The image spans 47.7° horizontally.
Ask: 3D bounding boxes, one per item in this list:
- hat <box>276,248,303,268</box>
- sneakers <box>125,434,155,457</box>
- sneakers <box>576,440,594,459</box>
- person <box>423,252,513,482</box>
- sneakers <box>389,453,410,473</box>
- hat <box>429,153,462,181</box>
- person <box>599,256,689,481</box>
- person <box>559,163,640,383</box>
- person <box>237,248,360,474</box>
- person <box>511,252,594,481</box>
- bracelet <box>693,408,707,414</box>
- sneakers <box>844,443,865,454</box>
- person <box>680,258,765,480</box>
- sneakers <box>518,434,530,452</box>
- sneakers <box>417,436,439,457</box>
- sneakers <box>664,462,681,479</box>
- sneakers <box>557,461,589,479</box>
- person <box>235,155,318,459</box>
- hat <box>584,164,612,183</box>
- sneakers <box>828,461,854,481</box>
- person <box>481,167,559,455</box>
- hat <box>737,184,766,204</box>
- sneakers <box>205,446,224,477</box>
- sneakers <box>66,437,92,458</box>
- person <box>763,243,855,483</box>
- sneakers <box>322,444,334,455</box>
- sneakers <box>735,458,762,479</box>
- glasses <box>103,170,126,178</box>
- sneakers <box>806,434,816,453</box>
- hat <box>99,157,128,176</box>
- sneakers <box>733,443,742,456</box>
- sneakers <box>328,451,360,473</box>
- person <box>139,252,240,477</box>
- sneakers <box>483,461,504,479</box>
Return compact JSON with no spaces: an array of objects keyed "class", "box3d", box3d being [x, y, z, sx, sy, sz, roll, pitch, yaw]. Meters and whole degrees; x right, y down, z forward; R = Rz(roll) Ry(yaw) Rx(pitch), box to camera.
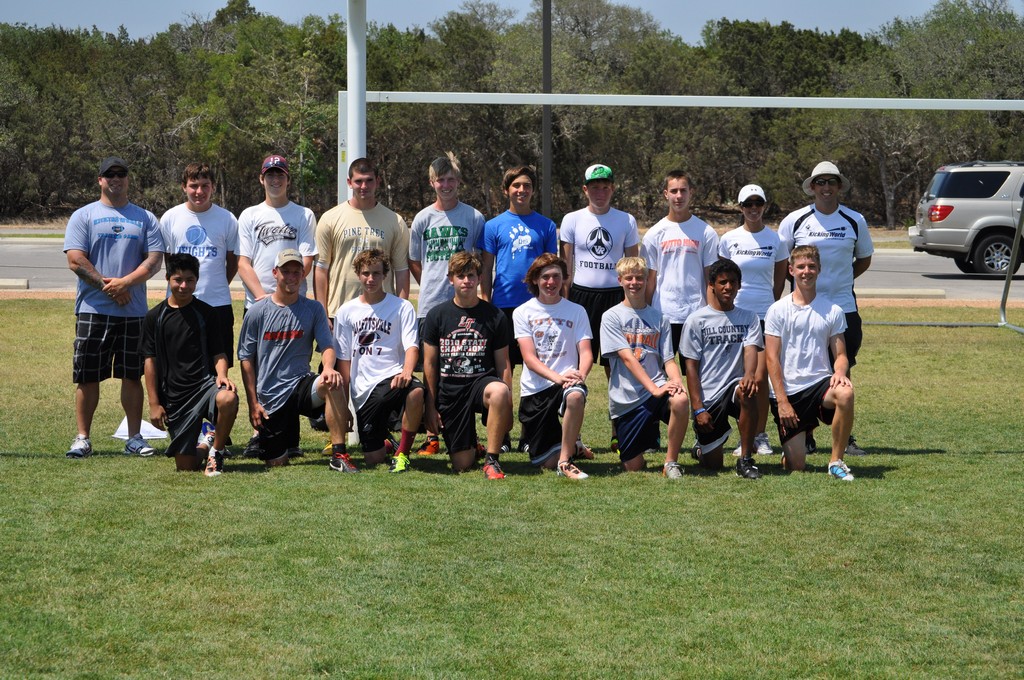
[{"class":"hat","box3d":[-1.808,-0.653,9.410,0.209,0.162,0.195,4,6,37]},{"class":"sneakers","box3d":[-3.167,0.888,9.769,0.292,0.126,0.122,2,2,30]},{"class":"sneakers","box3d":[0.617,0.938,9.857,0.088,0.095,0.232,0,1,19]},{"class":"person","box3d":[-0.306,0.185,9.461,0.813,1.777,0.455,4,6,36]},{"class":"sneakers","box3d":[-0.914,1.001,9.430,0.126,0.141,0.320,1,-7,-1]},{"class":"hat","box3d":[-0.587,-1.515,10.164,0.234,0.232,0.557,0,5,0]},{"class":"person","box3d":[1.054,0.404,9.430,0.792,1.337,0.440,2,5,18]},{"class":"person","box3d":[0.770,-0.505,10.250,0.772,1.995,0.586,0,19,4]},{"class":"person","box3d":[-1.773,0.151,9.457,0.903,1.758,0.559,0,5,-5]},{"class":"person","box3d":[0.392,0.197,9.473,0.745,1.766,0.441,5,7,42]},{"class":"bracelet","box3d":[1.507,0.575,9.305,0.088,0.041,0.094,0,5,-1]},{"class":"sneakers","box3d":[2.939,0.932,9.980,0.090,0.071,0.158,3,-7,5]},{"class":"person","box3d":[1.686,0.217,9.361,0.677,1.712,0.401,1,5,11]},{"class":"sneakers","box3d":[0.091,0.885,9.957,0.111,0.059,0.149,1,-34,2]},{"class":"sneakers","box3d":[-0.719,0.930,10.035,0.125,0.140,0.213,1,-11,23]},{"class":"sneakers","box3d":[1.280,1.035,9.263,0.135,0.114,0.155,1,5,5]},{"class":"sneakers","box3d":[0.494,1.042,9.269,0.217,0.120,0.231,-1,5,-14]},{"class":"person","box3d":[-2.005,-0.324,10.012,0.852,2.635,0.803,-1,-5,-12]},{"class":"hat","box3d":[0.745,-1.442,10.088,0.214,0.165,0.231,1,5,8]},{"class":"sneakers","box3d":[2.603,1.029,9.222,0.095,0.106,0.249,-5,6,-33]},{"class":"person","box3d":[0.034,-0.359,10.097,0.738,2.228,0.687,3,4,-4]},{"class":"hat","box3d":[2.087,-1.295,10.190,0.211,0.147,0.290,-1,-3,2]},{"class":"sneakers","box3d":[-2.364,0.952,9.182,0.135,0.213,0.242,-1,5,-15]},{"class":"sneakers","box3d":[-3.594,0.875,9.600,0.202,0.162,0.243,-1,5,-19]},{"class":"person","box3d":[2.394,0.165,9.312,0.721,1.826,0.498,2,5,13]},{"class":"sneakers","box3d":[-1.595,0.949,10.056,0.119,0.045,0.156,1,9,4]},{"class":"sneakers","box3d":[1.884,1.023,9.297,0.099,0.108,0.246,-2,1,-20]},{"class":"glasses","box3d":[-3.286,-1.373,9.599,0.089,0.026,0.087,-2,-14,-17]},{"class":"sneakers","box3d":[2.551,0.889,9.928,0.097,0.113,0.278,-2,-5,7]},{"class":"hat","box3d":[-3.332,-1.443,9.688,0.176,0.120,0.233,-3,-13,-19]},{"class":"sneakers","box3d":[1.915,0.944,9.932,0.071,0.078,0.187,-1,-6,5]},{"class":"sneakers","box3d":[-1.371,0.988,9.370,0.119,0.108,0.260,1,-4,-36]},{"class":"person","box3d":[-2.540,0.180,9.237,0.788,1.717,0.407,3,5,24]},{"class":"sneakers","box3d":[-0.146,1.031,9.269,0.177,0.129,0.273,0,5,-2]}]
